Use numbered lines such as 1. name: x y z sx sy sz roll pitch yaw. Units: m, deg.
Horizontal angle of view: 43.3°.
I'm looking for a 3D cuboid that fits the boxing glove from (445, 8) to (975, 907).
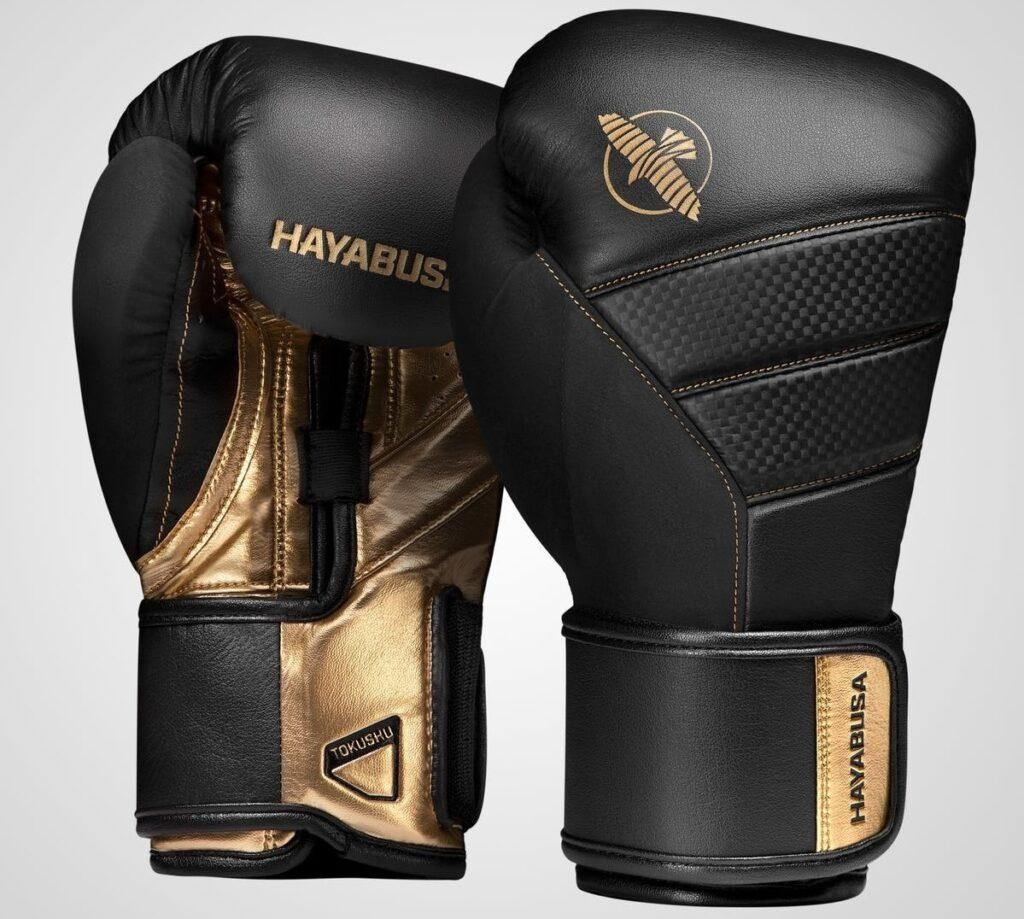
1. boxing glove: 0.162 -0.005 1.078 0.438 0.732 0.235 2 -14 -4
